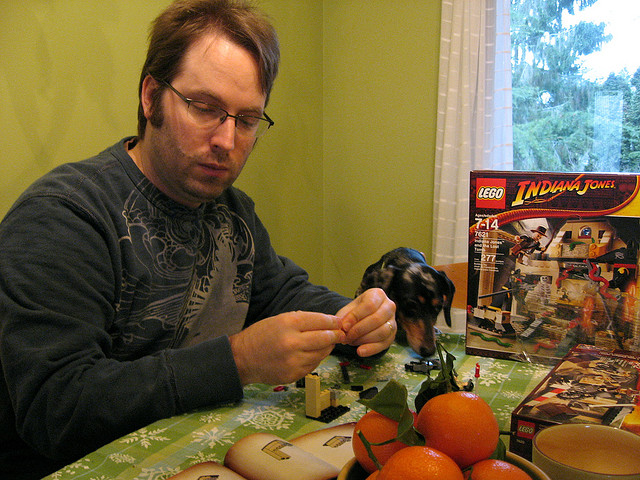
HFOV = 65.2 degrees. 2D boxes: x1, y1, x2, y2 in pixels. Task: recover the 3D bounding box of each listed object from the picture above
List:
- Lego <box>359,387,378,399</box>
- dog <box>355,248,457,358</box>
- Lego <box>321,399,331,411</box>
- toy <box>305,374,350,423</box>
[{"bbox_3d":[0.105,0.335,1.085,0.039,0.019,0.066,0,12,4],"label":"Lego"},{"bbox_3d":[0.239,0.170,1.410,0.199,0.180,0.321,-1,34,-8],"label":"dog"},{"bbox_3d":[0.012,0.341,1.029,0.019,0.015,0.004,-21,25,-38],"label":"Lego"},{"bbox_3d":[0.021,0.324,1.039,0.054,0.083,0.098,-2,-3,35],"label":"toy"}]
